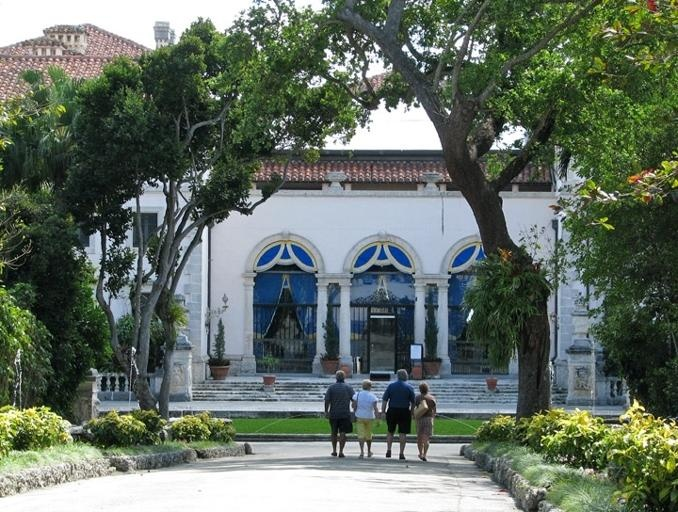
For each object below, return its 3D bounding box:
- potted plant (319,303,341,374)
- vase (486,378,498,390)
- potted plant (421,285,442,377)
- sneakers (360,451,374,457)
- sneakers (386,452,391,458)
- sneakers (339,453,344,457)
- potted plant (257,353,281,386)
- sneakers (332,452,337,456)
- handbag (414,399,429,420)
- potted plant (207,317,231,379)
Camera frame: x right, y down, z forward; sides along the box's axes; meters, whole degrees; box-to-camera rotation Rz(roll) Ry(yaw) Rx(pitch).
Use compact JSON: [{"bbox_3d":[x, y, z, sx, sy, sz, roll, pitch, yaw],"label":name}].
[{"bbox_3d":[-0.338,3.069,48.863,0.632,2.419,1.439,-2,1,0],"label":"potted plant"},{"bbox_3d":[5.122,4.404,45.518,0.346,0.443,0.339,-1,-5,-3],"label":"vase"},{"bbox_3d":[3.354,2.760,48.866,0.627,3.230,1.719,-1,1,4],"label":"potted plant"},{"bbox_3d":[0.613,4.671,31.137,0.111,0.165,0.345,-9,-20,34],"label":"sneakers"},{"bbox_3d":[1.143,4.678,31.199,0.110,0.201,0.109,0,-7,5],"label":"sneakers"},{"bbox_3d":[0.066,4.637,30.894,0.059,0.072,0.117,-4,-10,1],"label":"sneakers"},{"bbox_3d":[-2.528,4.171,48.943,0.597,1.267,0.673,-5,-7,31],"label":"potted plant"},{"bbox_3d":[-0.104,4.641,31.119,0.115,0.139,0.070,1,1,7],"label":"sneakers"},{"bbox_3d":[1.887,3.598,30.936,0.261,0.156,0.388,-34,21,27],"label":"handbag"},{"bbox_3d":[-4.141,3.374,47.600,0.825,2.152,0.914,-1,-5,23],"label":"potted plant"}]
